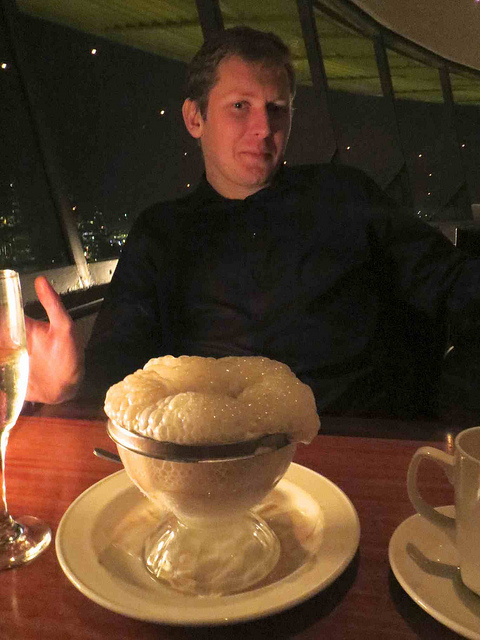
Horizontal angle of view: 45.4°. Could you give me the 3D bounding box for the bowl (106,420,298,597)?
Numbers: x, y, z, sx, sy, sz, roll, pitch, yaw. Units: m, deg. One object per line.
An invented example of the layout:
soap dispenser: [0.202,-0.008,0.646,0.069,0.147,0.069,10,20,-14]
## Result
bowl: [-0.025,0.138,0.474,0.166,0.115,0.147,1,2,6]
